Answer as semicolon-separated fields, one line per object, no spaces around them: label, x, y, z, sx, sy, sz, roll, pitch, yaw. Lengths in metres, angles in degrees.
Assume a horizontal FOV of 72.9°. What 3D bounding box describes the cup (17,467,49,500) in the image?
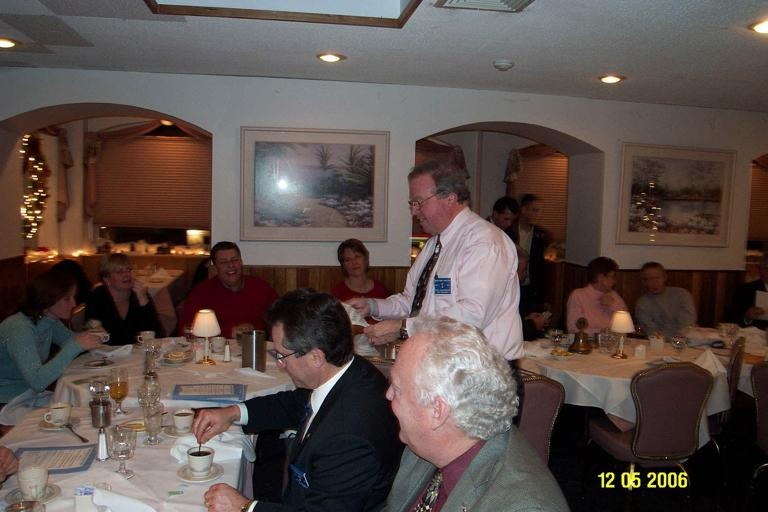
cup;-1.509;0.988;2.311;0.126;0.099;0.144;2;14;-8

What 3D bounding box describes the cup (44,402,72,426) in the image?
cup;-1.739;0.851;2.816;0.137;0.099;0.105;-2;9;-30

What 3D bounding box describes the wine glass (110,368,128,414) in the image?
wine glass;-1.548;0.769;3.049;0.088;0.269;0.236;-2;3;-27

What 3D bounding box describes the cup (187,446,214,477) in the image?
cup;-0.877;0.984;2.501;0.118;0.082;0.116;1;-2;0

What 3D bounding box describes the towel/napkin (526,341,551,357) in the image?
towel/napkin;1.336;0.810;4.546;0.177;0.023;0.168;-4;4;-35

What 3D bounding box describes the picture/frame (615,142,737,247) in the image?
picture/frame;3.453;-0.797;6.348;1.517;1.076;0.094;1;1;-14

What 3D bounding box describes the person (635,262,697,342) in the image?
person;2.924;0.458;5.485;0.567;0.785;0.396;3;4;41

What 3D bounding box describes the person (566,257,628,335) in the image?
person;2.061;0.389;5.183;0.521;0.743;0.327;0;3;6

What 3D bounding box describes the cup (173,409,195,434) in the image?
cup;-1.080;0.894;2.812;0.102;0.076;0.114;1;-5;1

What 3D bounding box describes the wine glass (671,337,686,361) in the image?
wine glass;2.556;0.815;4.578;0.147;0.198;0.135;0;-8;-2

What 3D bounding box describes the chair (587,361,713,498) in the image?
chair;1.895;1.131;3.774;0.757;0.794;0.414;1;3;27

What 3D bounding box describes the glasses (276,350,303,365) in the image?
glasses;-0.457;0.480;2.483;0.113;0.029;0.100;-1;0;-13

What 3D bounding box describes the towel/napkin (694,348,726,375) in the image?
towel/napkin;2.484;0.822;4.027;0.199;0.091;0.236;3;13;8

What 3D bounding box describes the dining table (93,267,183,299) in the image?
dining table;-3.381;0.409;7.610;0.777;0.192;0.860;-1;10;-6

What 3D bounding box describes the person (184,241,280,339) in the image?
person;-1.437;0.339;4.888;1.124;0.792;0.600;-8;8;-37

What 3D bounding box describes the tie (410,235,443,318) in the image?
tie;0.303;0.081;3.442;0.116;0.722;0.088;13;-37;12

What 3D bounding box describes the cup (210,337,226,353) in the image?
cup;-1.298;0.696;4.096;0.109;0.077;0.115;0;-8;0
